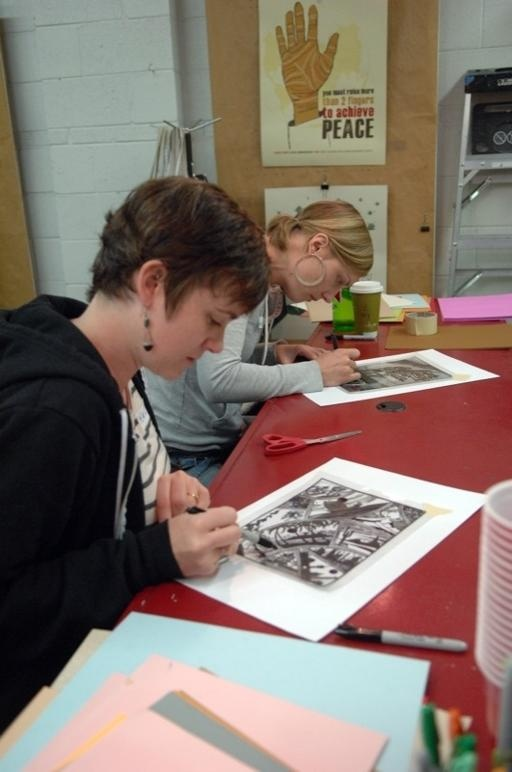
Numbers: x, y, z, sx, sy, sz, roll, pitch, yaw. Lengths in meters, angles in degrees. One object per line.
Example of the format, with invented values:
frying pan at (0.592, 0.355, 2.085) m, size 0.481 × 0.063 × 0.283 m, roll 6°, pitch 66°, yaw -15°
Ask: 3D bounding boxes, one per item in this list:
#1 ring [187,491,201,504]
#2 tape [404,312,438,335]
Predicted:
ring at (-0.080, 0.146, 0.760) m, size 0.011 × 0.011 × 0.011 m, roll 3°, pitch 5°, yaw 0°
tape at (0.441, -0.167, 1.552) m, size 0.054 × 0.048 × 0.081 m, roll 7°, pitch 35°, yaw 24°
